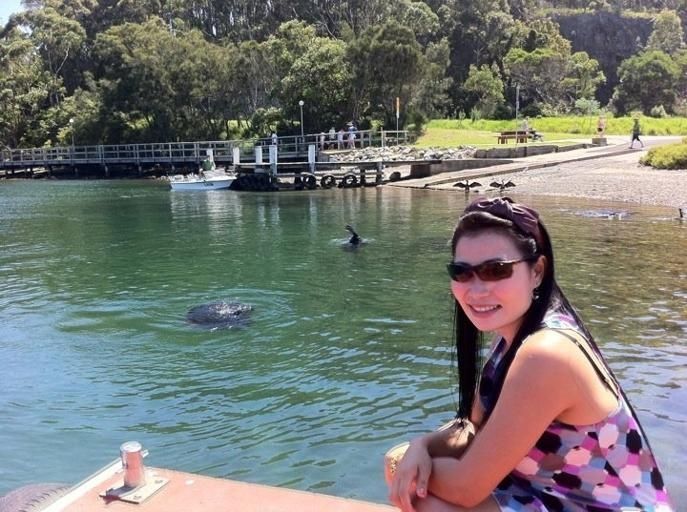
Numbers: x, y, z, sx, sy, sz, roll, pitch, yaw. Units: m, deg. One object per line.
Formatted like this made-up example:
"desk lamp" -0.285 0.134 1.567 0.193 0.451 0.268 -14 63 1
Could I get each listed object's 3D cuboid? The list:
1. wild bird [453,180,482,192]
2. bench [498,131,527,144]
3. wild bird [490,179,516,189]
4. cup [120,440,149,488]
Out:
"wild bird" 6.238 -3.465 30.707 0.967 0.437 1.357 -7 13 -22
"bench" 11.350 -7.773 41.091 1.685 0.818 2.427 -5 13 -15
"wild bird" 7.356 -3.269 28.510 0.933 0.744 0.358 -2 3 7
"cup" -1.501 1.482 4.499 0.170 0.315 0.299 1 13 3
